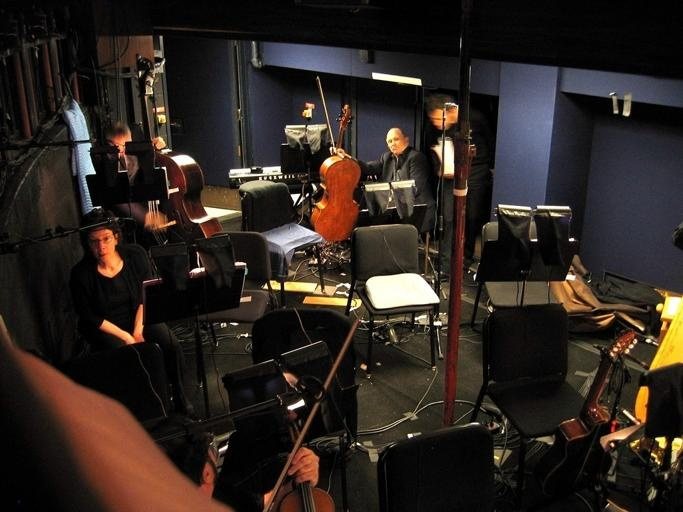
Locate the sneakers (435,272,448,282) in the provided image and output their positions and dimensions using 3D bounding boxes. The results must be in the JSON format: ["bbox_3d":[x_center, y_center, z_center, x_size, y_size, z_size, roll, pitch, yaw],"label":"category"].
[{"bbox_3d":[1.145,0.222,6.629,0.149,0.074,0.191,0,21,1],"label":"sneakers"}]

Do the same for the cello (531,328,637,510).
[{"bbox_3d":[1.359,0.993,3.368,0.485,1.055,0.499,6,16,26],"label":"cello"}]

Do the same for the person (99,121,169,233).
[{"bbox_3d":[-1.977,-0.618,5.509,0.648,1.389,0.412,0,9,25],"label":"person"}]
